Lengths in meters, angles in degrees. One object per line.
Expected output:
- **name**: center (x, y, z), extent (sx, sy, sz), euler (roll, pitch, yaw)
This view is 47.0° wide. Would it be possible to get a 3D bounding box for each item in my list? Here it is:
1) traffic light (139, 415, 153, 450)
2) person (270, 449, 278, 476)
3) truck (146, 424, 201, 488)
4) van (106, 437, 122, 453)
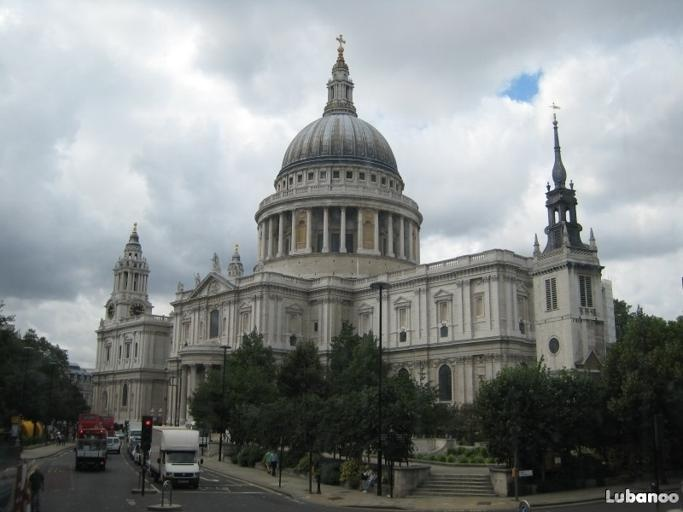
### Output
- **traffic light**: center (-12.319, 11.246, 49.649), extent (0.596, 2.222, 1.310), euler (5, -17, -17)
- **person**: center (-5.359, 16.531, 62.373), extent (0.600, 1.811, 1.246), euler (1, -17, -5)
- **truck**: center (-11.803, 14.052, 54.804), extent (2.447, 4.306, 4.412), euler (11, -20, -34)
- **van**: center (-24.521, 20.398, 84.549), extent (1.215, 2.022, 2.834), euler (3, -18, -11)
